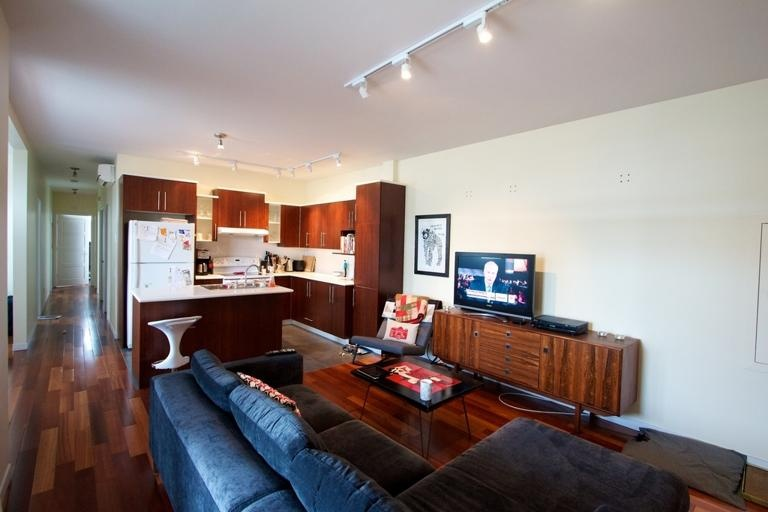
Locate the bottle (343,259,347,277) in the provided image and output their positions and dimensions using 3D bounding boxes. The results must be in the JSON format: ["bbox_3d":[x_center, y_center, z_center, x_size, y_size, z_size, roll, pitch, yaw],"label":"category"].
[{"bbox_3d":[-0.658,0.195,8.408,0.063,0.254,0.150,0,15,-5],"label":"bottle"}]

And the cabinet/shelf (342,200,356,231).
[{"bbox_3d":[-0.590,-0.662,8.070,0.104,0.513,0.330,-9,18,-34],"label":"cabinet/shelf"}]

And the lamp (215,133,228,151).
[{"bbox_3d":[-2.108,-1.479,6.444,0.183,0.165,0.183,0,-5,-1],"label":"lamp"}]

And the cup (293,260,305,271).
[{"bbox_3d":[-1.578,0.181,9.236,0.207,0.204,0.158,-1,3,-18],"label":"cup"}]

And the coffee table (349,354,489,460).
[{"bbox_3d":[0.320,1.552,5.283,0.841,0.610,1.186,-9,13,-43],"label":"coffee table"}]

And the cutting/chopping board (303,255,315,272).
[{"bbox_3d":[-1.424,0.110,9.313,0.172,0.277,0.420,-8,17,-32],"label":"cutting/chopping board"}]

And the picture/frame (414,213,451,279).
[{"bbox_3d":[0.666,-0.173,6.997,0.205,0.885,0.743,-9,18,-37],"label":"picture/frame"}]

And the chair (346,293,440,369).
[{"bbox_3d":[0.123,1.024,6.742,1.051,0.848,1.006,1,5,24],"label":"chair"}]

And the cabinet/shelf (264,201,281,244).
[{"bbox_3d":[-2.024,-0.606,8.950,0.164,0.517,0.231,-6,-17,24],"label":"cabinet/shelf"}]

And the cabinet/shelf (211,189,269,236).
[{"bbox_3d":[-2.387,-0.787,8.416,0.828,0.718,0.311,2,21,-16],"label":"cabinet/shelf"}]

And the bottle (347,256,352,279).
[{"bbox_3d":[-0.577,0.169,8.329,0.090,0.362,0.227,-1,15,-11],"label":"bottle"}]

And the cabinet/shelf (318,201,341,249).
[{"bbox_3d":[-1.009,-0.515,8.579,0.261,0.780,0.462,-2,6,16],"label":"cabinet/shelf"}]

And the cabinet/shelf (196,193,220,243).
[{"bbox_3d":[-2.839,-0.595,8.079,0.327,0.762,0.247,1,1,14],"label":"cabinet/shelf"}]

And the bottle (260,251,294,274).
[{"bbox_3d":[-1.954,0.086,9.083,0.317,0.387,0.671,11,17,31],"label":"bottle"}]

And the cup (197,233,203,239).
[{"bbox_3d":[-2.983,-0.317,8.057,0.073,0.067,0.093,8,11,42],"label":"cup"}]

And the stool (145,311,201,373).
[{"bbox_3d":[-2.361,0.980,5.815,0.607,0.660,0.643,-3,5,-41],"label":"stool"}]

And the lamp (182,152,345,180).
[{"bbox_3d":[-1.780,-1.466,7.859,2.301,0.446,1.443,2,14,1],"label":"lamp"}]
